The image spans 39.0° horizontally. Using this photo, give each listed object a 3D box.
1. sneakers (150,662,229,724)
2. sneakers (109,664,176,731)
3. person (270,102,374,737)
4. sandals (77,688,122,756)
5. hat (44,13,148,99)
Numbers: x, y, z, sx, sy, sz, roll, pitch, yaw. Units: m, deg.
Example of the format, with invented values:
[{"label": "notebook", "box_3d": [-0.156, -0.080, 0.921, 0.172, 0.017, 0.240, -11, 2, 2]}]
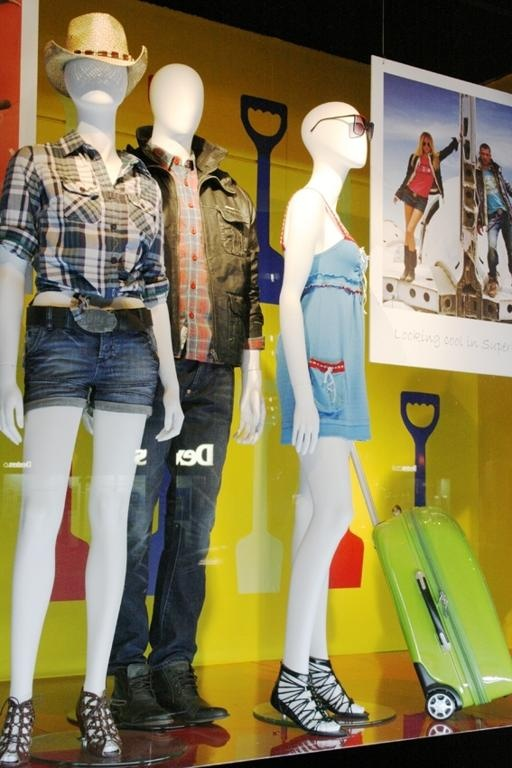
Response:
[{"label": "sneakers", "box_3d": [-0.193, 0.741, 1.756, 0.080, 0.127, 0.242, 7, -6, -43]}, {"label": "sneakers", "box_3d": [-0.262, 0.718, 1.645, 0.077, 0.123, 0.191, 12, -24, -31]}, {"label": "person", "box_3d": [0.188, 0.033, 1.924, 0.277, 1.673, 0.305, 2, -2, 9]}, {"label": "sandals", "box_3d": [-0.344, 0.711, 1.562, 0.061, 0.073, 0.168, 6, 17, -33]}, {"label": "hat", "box_3d": [-0.384, -0.795, 1.694, 0.197, 0.130, 0.233, -2, 2, 1]}]
